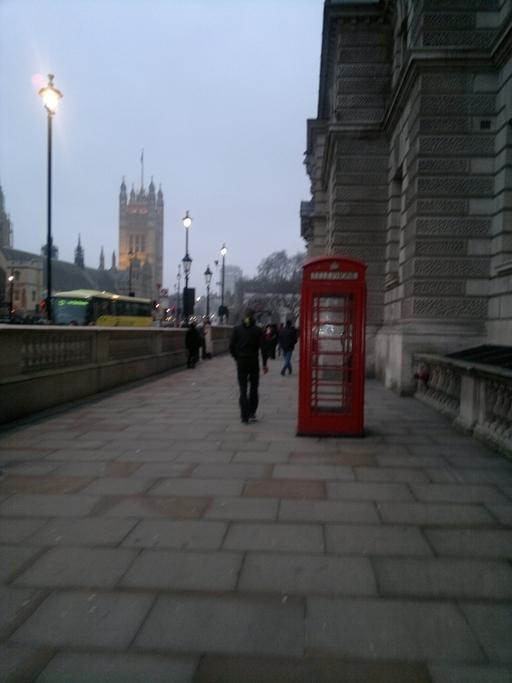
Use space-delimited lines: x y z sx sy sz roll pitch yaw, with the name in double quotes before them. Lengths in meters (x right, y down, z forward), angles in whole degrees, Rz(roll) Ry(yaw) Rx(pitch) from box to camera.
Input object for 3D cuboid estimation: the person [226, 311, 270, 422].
"person" -0.145 0.352 8.429 0.524 1.654 1.250 0 2 -2
